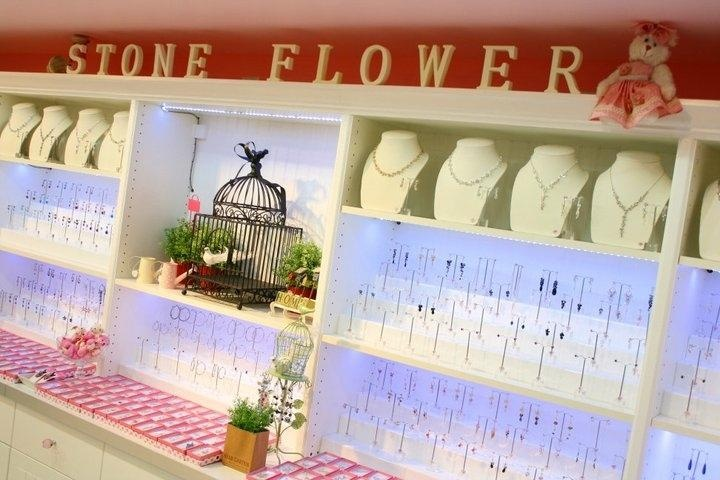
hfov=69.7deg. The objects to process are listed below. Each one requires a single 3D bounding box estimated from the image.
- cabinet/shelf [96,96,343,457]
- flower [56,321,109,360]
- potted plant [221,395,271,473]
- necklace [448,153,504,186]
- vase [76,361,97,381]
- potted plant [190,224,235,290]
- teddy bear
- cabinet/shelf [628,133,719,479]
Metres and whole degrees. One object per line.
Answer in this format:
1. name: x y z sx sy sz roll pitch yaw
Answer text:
1. cabinet/shelf: -0.753 0.195 2.824 1.635 2.051 0.528 10 -2 32
2. flower: -1.661 0.595 3.015 0.306 0.166 0.296 9 -9 -1
3. potted plant: -0.519 0.912 2.369 0.269 0.322 0.171 7 -9 33
4. necklace: 0.497 -0.340 2.239 0.234 0.140 0.062 10 0 13
5. vase: -1.603 0.748 3.031 0.092 0.102 0.125 9 0 43
6. potted plant: -0.854 0.073 2.892 0.214 0.400 0.438 9 0 -18
7. teddy bear: 1.034 -0.668 1.893 0.296 0.399 0.166 9 0 25
8. cabinet/shelf: 1.152 0.254 1.939 0.090 1.231 0.233 8 -1 41
